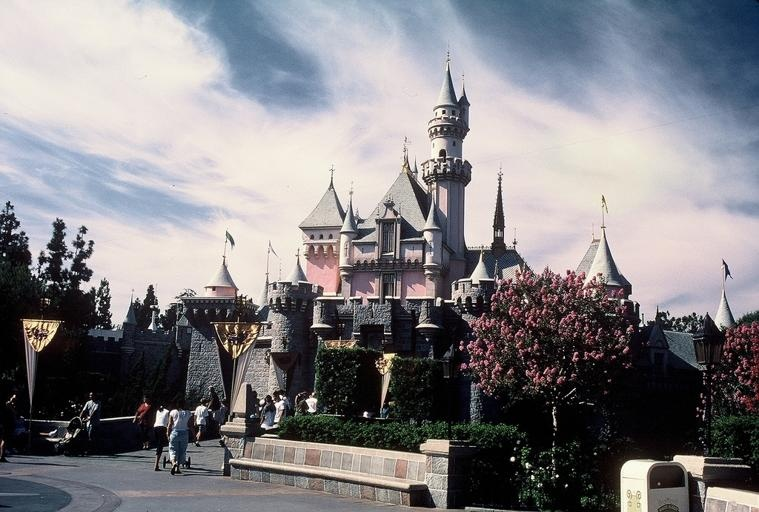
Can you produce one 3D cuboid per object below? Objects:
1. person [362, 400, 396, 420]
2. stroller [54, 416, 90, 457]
[{"bbox_3d":[-0.095,6.203,34.924,1.321,0.848,1.336,-6,-10,27],"label":"person"},{"bbox_3d":[-10.468,6.207,29.955,1.046,1.276,0.632,7,-17,-16],"label":"stroller"}]
